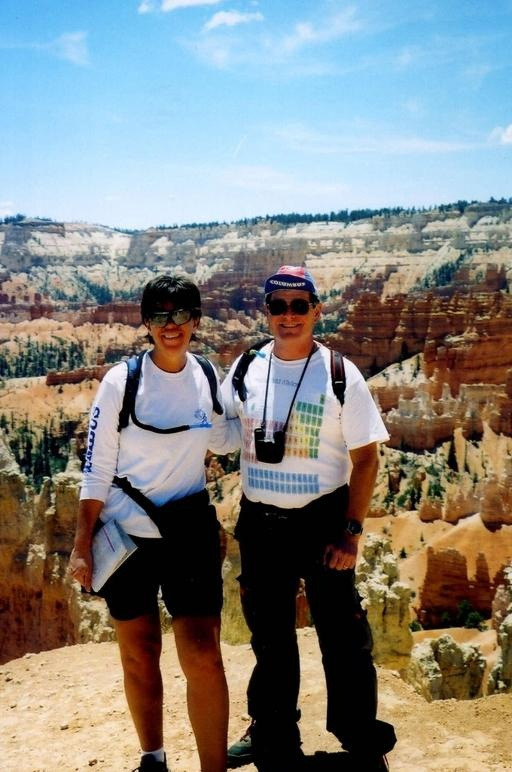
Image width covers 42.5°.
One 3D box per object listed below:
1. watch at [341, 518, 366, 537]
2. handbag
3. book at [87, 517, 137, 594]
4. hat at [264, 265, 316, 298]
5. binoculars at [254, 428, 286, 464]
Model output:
[{"bbox_3d":[0.482,0.709,3.282,0.103,0.064,0.106,5,3,-7],"label":"watch"},{"bbox_3d":[-0.360,0.715,3.310,0.290,0.360,0.110,-14,-5,-24],"label":"handbag"},{"bbox_3d":[-0.696,0.774,3.065,0.093,0.302,0.297,21,29,-52],"label":"book"},{"bbox_3d":[0.205,-0.570,3.636,0.259,0.180,0.411,5,12,11],"label":"hat"},{"bbox_3d":[0.083,0.330,3.489,0.191,0.178,0.133,4,-5,9],"label":"binoculars"}]
